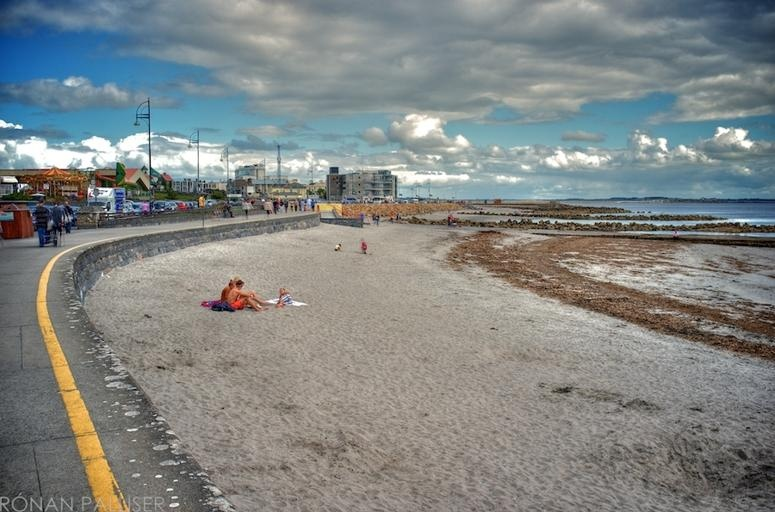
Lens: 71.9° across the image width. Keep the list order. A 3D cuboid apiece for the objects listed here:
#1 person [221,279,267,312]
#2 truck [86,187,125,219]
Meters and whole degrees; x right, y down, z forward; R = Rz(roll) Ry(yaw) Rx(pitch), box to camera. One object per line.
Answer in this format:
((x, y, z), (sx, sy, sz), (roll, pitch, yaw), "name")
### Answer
((-4.855, 1.316, 17.973), (1.432, 0.967, 1.001), (2, 14, -10), "person")
((-24.337, -4.728, 46.296), (2.382, 2.150, 4.765), (1, 12, -16), "truck")
